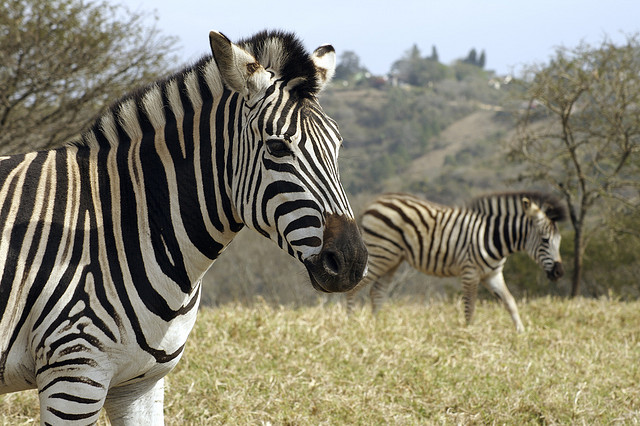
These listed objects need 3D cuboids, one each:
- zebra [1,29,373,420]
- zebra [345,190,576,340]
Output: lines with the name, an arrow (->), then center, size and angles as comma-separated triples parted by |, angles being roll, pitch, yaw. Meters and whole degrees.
zebra -> -0.327, 0.060, 11.648 | 6.068, 4.505, 2.006 | -3, -1, 15
zebra -> 1.842, 0.637, 13.529 | 2.879, 1.865, 2.125 | 4, -1, 22
